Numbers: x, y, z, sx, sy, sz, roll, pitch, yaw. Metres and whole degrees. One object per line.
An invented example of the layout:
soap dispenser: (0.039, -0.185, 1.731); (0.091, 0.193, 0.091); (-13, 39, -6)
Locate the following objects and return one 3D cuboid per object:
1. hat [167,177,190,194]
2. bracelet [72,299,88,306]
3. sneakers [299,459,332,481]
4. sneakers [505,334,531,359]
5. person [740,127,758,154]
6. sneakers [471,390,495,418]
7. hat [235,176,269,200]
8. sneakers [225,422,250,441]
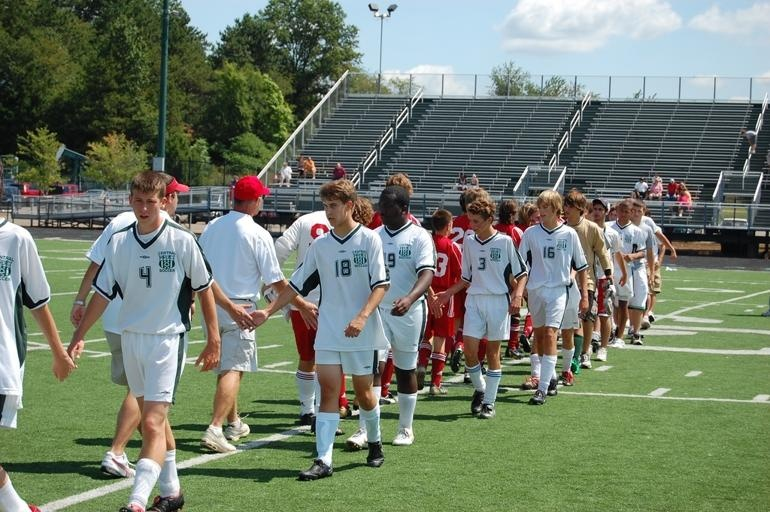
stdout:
hat: (-2.247, -0.736, 10.226); (0.335, 0.100, 0.209); (-2, 22, -5)
bracelet: (-3.168, 0.480, 9.990); (0.091, 0.063, 0.098); (9, -2, 4)
sneakers: (-0.685, 2.141, 9.671); (0.381, 0.159, 0.139); (5, -7, -39)
sneakers: (2.135, 1.434, 15.202); (0.219, 0.278, 0.658); (4, 4, 24)
person: (15.098, -4.811, 40.100); (0.636, 1.240, 2.480); (1, -1, 20)
sneakers: (1.184, 1.796, 11.674); (0.205, 0.254, 0.600); (-1, -14, 5)
hat: (-1.469, -0.773, 10.704); (0.247, 0.183, 0.364); (6, 24, 22)
sneakers: (-1.654, 1.937, 10.773); (0.141, 0.151, 0.314); (5, 11, 31)
